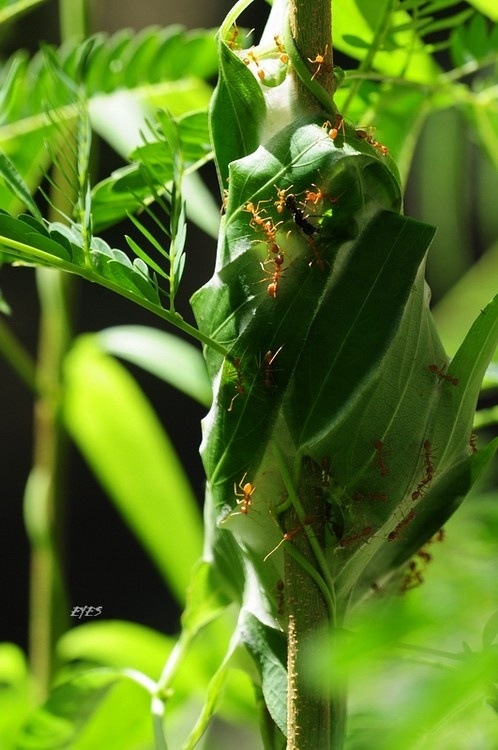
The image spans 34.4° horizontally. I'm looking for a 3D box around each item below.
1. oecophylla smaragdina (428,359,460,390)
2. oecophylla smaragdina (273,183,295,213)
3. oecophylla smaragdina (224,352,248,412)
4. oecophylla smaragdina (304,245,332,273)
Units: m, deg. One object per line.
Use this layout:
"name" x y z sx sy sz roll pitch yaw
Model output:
"oecophylla smaragdina" 0.091 0.001 0.378 0.012 0.010 0.004 40 43 9
"oecophylla smaragdina" 0.014 -0.075 0.345 0.009 0.013 0.005 0 27 9
"oecophylla smaragdina" -0.007 0.004 0.357 0.009 0.022 0.011 -5 26 0
"oecophylla smaragdina" 0.029 -0.052 0.357 0.007 0.010 0.013 -20 29 -29
